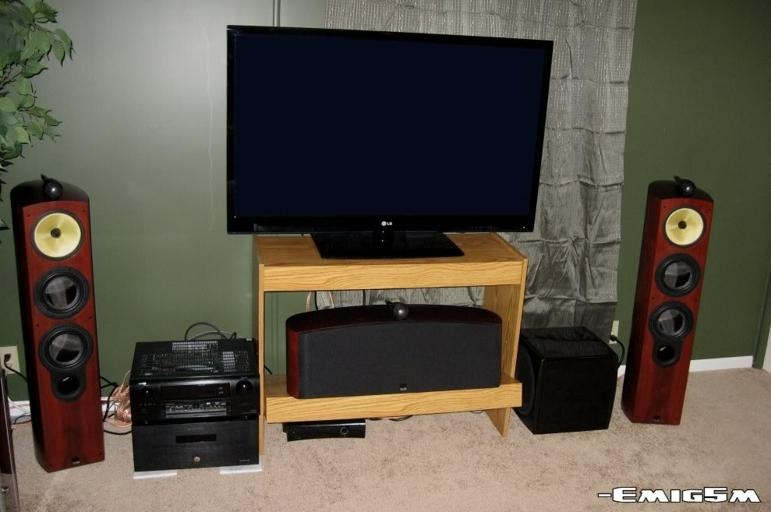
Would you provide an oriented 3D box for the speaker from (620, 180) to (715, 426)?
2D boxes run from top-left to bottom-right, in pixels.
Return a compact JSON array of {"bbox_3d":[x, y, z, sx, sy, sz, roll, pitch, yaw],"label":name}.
[{"bbox_3d":[1.444,0.247,3.208,0.338,1.295,0.203,3,14,13],"label":"speaker"}]

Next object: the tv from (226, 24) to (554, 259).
[{"bbox_3d":[-0.017,-0.556,2.904,1.072,0.742,0.293,1,16,-6],"label":"tv"}]

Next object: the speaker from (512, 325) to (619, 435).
[{"bbox_3d":[0.916,0.658,3.411,0.497,0.507,0.488,-3,12,-5],"label":"speaker"}]

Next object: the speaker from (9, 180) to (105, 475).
[{"bbox_3d":[-1.456,0.310,2.788,0.340,1.323,0.220,-7,15,-25],"label":"speaker"}]

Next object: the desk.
[{"bbox_3d":[0.010,0.452,3.244,1.279,1.031,0.665,-1,14,-12],"label":"desk"}]
